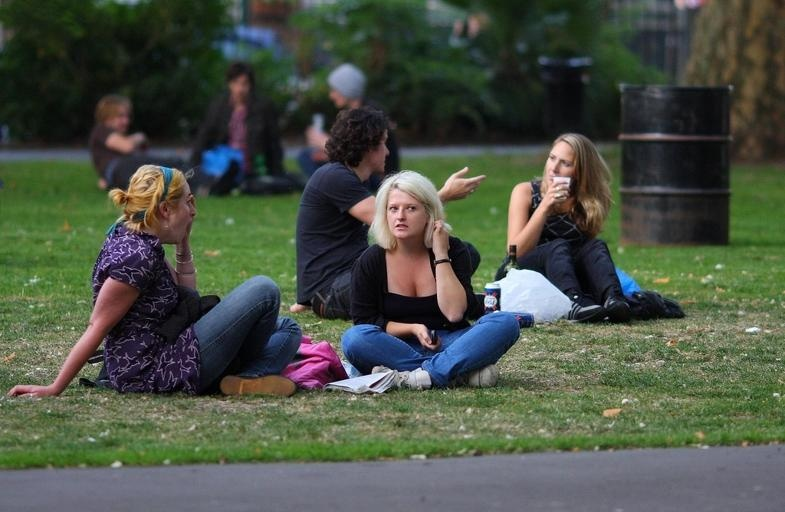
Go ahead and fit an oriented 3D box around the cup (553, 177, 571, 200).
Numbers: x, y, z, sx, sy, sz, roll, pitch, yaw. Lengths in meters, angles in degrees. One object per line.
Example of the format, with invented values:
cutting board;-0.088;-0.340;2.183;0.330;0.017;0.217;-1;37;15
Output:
cup;1.664;-0.680;14.132;0.165;0.196;0.299;1;5;6

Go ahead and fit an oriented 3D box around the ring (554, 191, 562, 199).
ring;1.617;-0.591;14.005;0.067;0.053;0.024;1;5;4

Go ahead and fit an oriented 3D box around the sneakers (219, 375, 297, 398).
sneakers;-1.120;1.137;12.492;0.681;0.221;0.267;2;-8;0

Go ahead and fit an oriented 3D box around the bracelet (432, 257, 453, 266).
bracelet;0.444;0.039;12.553;0.162;0.056;0.130;1;5;-2

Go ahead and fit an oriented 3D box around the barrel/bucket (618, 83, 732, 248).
barrel/bucket;3.272;-1.011;16.678;1.248;1.845;1.196;1;5;0

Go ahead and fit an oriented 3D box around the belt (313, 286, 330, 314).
belt;-0.672;0.408;13.977;0.119;0.220;0.169;20;-36;-40

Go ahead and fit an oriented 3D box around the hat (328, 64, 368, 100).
hat;-0.574;-2.246;18.688;0.536;0.394;0.418;16;-12;-43

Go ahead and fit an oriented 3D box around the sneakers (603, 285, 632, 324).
sneakers;2.164;0.487;14.025;0.170;0.199;0.449;-8;-5;-7

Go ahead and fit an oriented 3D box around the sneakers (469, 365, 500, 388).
sneakers;0.807;1.035;12.551;0.175;0.131;0.223;-9;3;-29

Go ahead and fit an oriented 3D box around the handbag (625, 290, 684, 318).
handbag;2.591;0.485;14.192;0.406;0.156;0.317;1;0;-10

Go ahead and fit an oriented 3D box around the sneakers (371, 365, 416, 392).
sneakers;0.004;1.047;12.502;0.453;0.191;0.151;-1;21;-5
